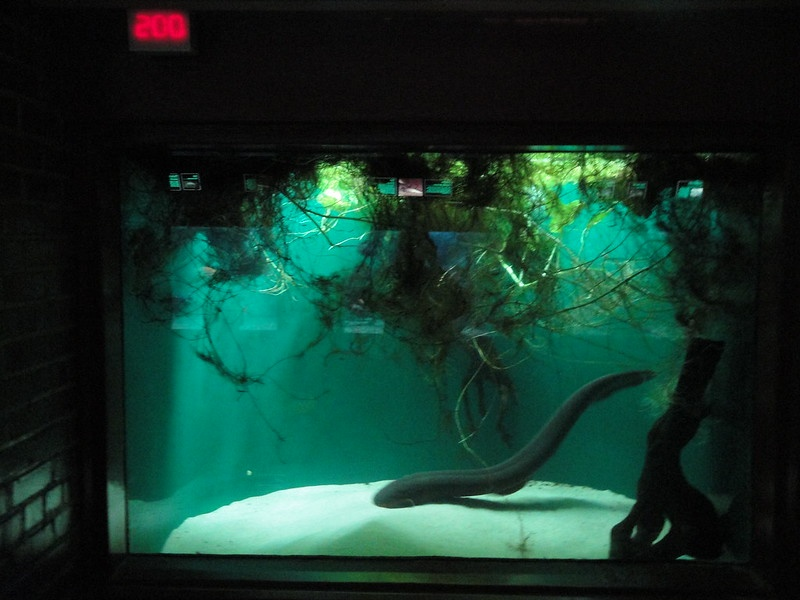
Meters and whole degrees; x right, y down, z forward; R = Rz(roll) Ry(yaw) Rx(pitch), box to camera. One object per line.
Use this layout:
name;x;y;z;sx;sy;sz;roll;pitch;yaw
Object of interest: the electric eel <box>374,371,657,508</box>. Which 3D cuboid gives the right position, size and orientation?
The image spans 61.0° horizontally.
electric eel;0.533;0.636;2.918;1.331;0.272;0.290;-29;32;7
